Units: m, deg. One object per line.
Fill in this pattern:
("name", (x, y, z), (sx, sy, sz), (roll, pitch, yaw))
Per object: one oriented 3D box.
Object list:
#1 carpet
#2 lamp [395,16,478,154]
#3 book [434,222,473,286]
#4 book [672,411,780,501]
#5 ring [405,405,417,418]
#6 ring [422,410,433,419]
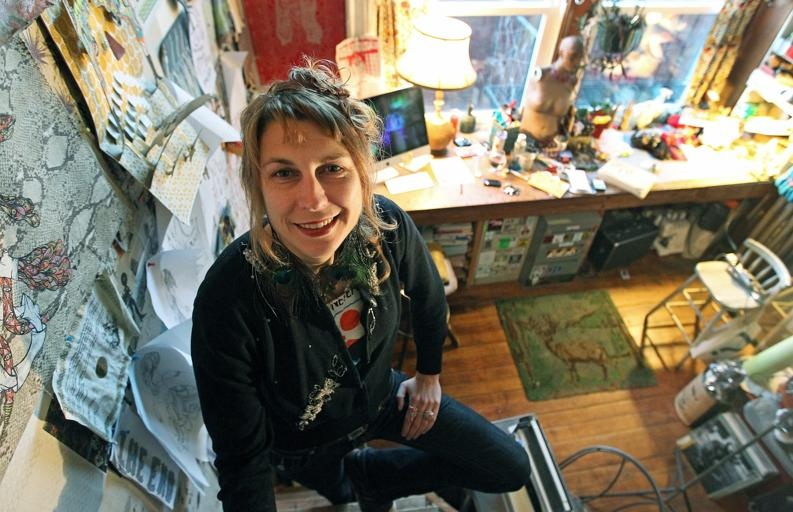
("carpet", (1.026, 0.425, 3.176), (0.618, 0.011, 0.616), (-5, 42, -6))
("lamp", (0.213, -0.977, 3.129), (0.443, 0.678, 0.406), (-14, 57, -16))
("book", (0.353, -0.009, 3.360), (0.350, 0.331, 0.236), (-4, 59, 2))
("book", (1.500, 0.929, 2.576), (0.081, 0.408, 0.422), (12, -11, -32))
("ring", (0.055, 0.612, 2.199), (0.038, 0.045, 0.037), (1, 19, 0))
("ring", (0.126, 0.625, 2.197), (0.036, 0.028, 0.011), (-31, 27, 19))
